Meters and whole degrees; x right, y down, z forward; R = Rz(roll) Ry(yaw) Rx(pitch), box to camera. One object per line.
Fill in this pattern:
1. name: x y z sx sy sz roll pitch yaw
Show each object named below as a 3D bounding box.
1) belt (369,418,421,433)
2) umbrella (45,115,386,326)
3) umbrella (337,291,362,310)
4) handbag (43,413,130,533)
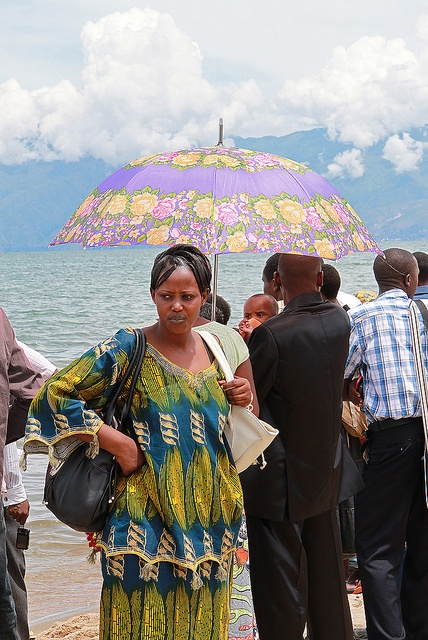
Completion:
1. belt: 0.888 0.525 3.777 0.258 0.080 0.060 -2 -2 27
2. umbrella: -0.016 -0.450 3.226 1.085 0.920 1.010 0 4 1
3. umbrella: 0.981 -0.151 5.640 0.228 0.060 0.175 17 5 -24
4. handbag: -0.423 0.555 2.438 0.234 0.304 0.171 -1 -2 -22
